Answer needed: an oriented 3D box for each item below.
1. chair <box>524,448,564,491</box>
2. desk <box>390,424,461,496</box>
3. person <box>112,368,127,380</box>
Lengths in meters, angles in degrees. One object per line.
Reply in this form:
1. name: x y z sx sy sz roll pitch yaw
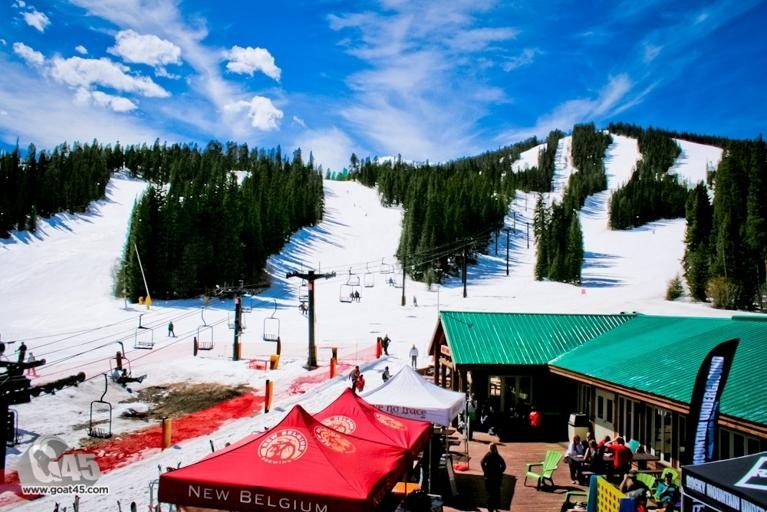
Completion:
1. chair: 9.989 13.324 43.038 2.398 2.240 1.839 1 -13 -32
2. desk: 2.770 13.140 42.582 3.187 1.687 4.745 -3 4 17
3. person: -21.265 9.655 55.602 0.850 0.501 1.205 14 3 25
